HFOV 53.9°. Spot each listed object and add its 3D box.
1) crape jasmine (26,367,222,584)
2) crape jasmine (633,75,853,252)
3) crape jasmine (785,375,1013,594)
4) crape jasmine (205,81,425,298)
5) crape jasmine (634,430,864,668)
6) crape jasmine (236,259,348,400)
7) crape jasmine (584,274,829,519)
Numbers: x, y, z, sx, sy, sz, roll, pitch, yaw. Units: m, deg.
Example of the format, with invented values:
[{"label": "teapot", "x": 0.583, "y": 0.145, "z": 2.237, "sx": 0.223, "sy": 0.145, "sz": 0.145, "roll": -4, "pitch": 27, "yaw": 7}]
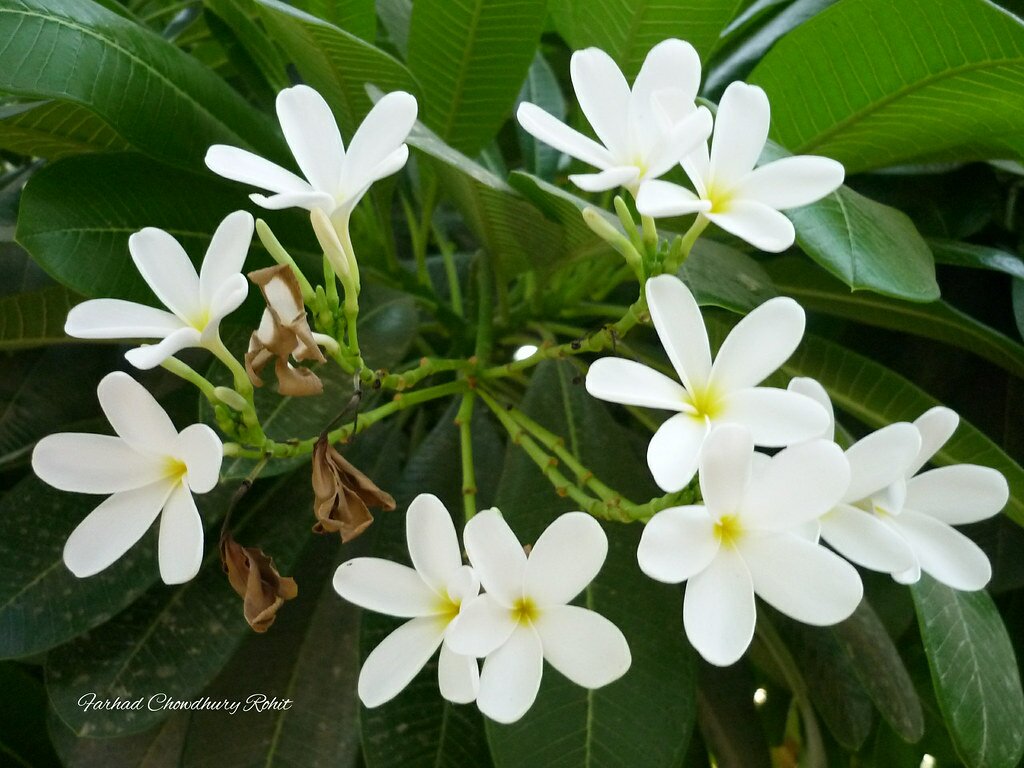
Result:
[{"label": "crape jasmine", "x": -0.357, "y": 0.091, "z": 0.928, "sx": 0.186, "sy": 0.174, "sz": 0.086, "roll": 19, "pitch": 31, "yaw": 9}, {"label": "crape jasmine", "x": 0.214, "y": -0.195, "z": 0.962, "sx": 0.160, "sy": 0.061, "sz": 0.194, "roll": -6, "pitch": 62, "yaw": -3}, {"label": "crape jasmine", "x": 0.348, "y": 0.120, "z": 0.974, "sx": 0.208, "sy": 0.094, "sz": 0.196, "roll": 42, "pitch": 5, "yaw": -1}, {"label": "crape jasmine", "x": -0.175, "y": -0.193, "z": 1.052, "sx": 0.171, "sy": 0.174, "sz": 0.200, "roll": 8, "pitch": 47, "yaw": 21}, {"label": "crape jasmine", "x": 0.206, "y": 0.139, "z": 0.872, "sx": 0.192, "sy": 0.178, "sz": 0.102, "roll": 3, "pitch": 32, "yaw": -17}, {"label": "crape jasmine", "x": -0.191, "y": -0.063, "z": 0.976, "sx": 0.059, "sy": 0.111, "sz": 0.077, "roll": -24, "pitch": 4, "yaw": -9}, {"label": "crape jasmine", "x": 0.178, "y": 0.001, "z": 0.907, "sx": 0.196, "sy": 0.069, "sz": 0.197, "roll": -36, "pitch": 66, "yaw": -17}]
